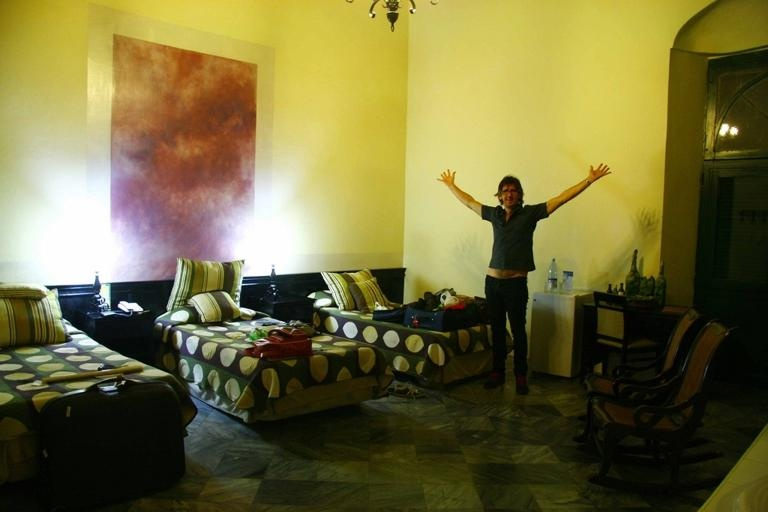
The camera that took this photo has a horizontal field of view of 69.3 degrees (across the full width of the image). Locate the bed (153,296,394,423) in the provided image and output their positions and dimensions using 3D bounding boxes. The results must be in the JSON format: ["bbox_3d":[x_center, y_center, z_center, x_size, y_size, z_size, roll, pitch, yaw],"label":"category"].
[{"bbox_3d":[-1.447,1.067,5.665,1.164,0.540,1.666,-5,8,-44],"label":"bed"}]

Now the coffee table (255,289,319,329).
[{"bbox_3d":[-1.226,0.604,7.043,0.520,0.472,0.502,-4,7,-38],"label":"coffee table"}]

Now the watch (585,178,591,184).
[{"bbox_3d":[2.215,-0.814,6.020,0.059,0.056,0.018,-1,-12,12],"label":"watch"}]

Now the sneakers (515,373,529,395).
[{"bbox_3d":[1.557,1.407,6.215,0.151,0.195,0.278,4,13,14],"label":"sneakers"}]

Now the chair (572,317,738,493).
[{"bbox_3d":[2.404,1.212,5.120,1.518,1.782,1.092,4,-2,4],"label":"chair"}]

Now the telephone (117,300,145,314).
[{"bbox_3d":[-2.779,0.560,6.136,0.187,0.049,0.180,18,12,30],"label":"telephone"}]

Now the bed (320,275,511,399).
[{"bbox_3d":[0.193,0.910,6.657,1.086,0.602,1.676,-6,9,-45],"label":"bed"}]

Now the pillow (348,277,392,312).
[{"bbox_3d":[-0.176,0.481,7.247,0.464,0.415,0.133,-1,-31,-49],"label":"pillow"}]

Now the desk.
[{"bbox_3d":[2.720,0.865,5.927,0.615,0.732,0.813,-7,12,-36],"label":"desk"}]

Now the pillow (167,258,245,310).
[{"bbox_3d":[-2.124,0.334,6.525,0.612,0.445,0.207,-3,10,-38],"label":"pillow"}]
